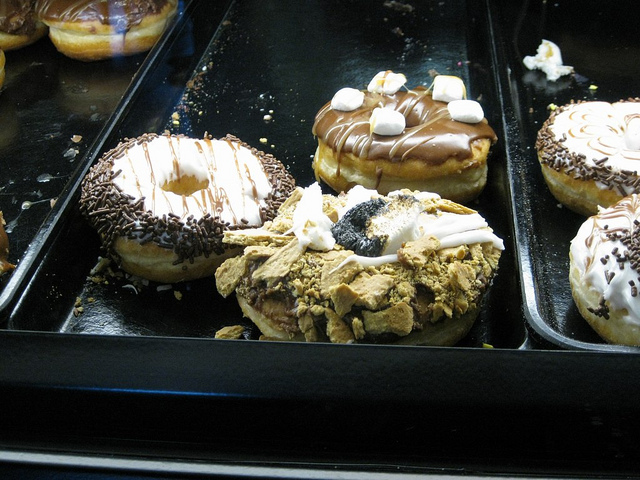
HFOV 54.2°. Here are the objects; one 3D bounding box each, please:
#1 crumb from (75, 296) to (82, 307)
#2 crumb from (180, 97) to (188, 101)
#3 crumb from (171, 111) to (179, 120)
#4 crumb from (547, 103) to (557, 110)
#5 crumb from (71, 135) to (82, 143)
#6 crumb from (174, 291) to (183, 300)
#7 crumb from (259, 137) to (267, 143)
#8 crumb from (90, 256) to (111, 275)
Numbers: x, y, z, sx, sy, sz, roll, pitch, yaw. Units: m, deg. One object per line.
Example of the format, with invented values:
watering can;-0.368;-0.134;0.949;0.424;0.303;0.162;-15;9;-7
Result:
crumb;-1.052;0.266;2.717;0.021;0.008;0.029;9;49;-7
crumb;-0.795;-0.827;3.659;0.022;0.005;0.022;8;32;12
crumb;-0.825;-0.703;3.540;0.034;0.010;0.043;6;46;0
crumb;1.271;-0.734;3.442;0.061;0.021;0.060;15;39;39
crumb;-1.331;-0.554;3.420;0.044;0.011;0.044;18;53;21
crumb;-0.632;0.244;2.777;0.026;0.008;0.036;-22;56;-24
crumb;-0.314;-0.546;3.414;0.027;0.010;0.027;0;32;-2
crumb;-0.997;0.115;2.835;0.066;0.023;0.076;33;80;9
